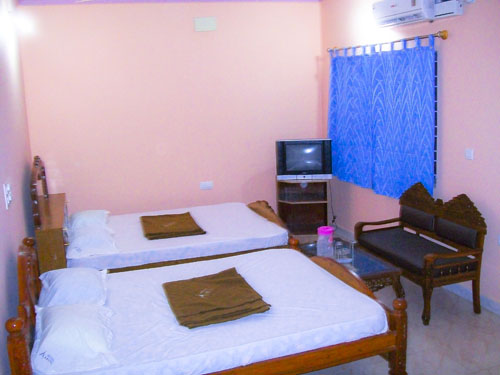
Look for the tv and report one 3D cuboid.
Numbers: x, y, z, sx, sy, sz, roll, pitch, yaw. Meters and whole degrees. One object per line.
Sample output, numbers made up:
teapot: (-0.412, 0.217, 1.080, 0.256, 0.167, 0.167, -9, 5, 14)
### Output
tv: (0.870, -0.406, 6.099, 0.911, 0.632, 0.561, 0, 8, 5)
